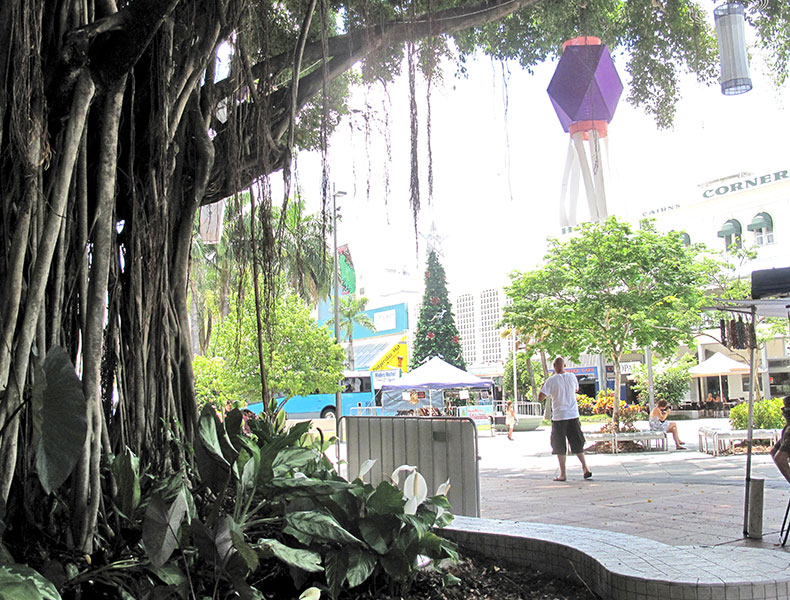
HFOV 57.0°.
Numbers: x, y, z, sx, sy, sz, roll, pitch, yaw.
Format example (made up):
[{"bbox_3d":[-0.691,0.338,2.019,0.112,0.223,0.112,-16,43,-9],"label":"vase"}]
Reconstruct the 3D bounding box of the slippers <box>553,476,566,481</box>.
[{"bbox_3d":[2.388,2.580,10.453,0.175,0.076,0.096,2,-1,29],"label":"slippers"}]

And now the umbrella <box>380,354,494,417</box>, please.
[{"bbox_3d":[0.829,2.613,22.705,2.718,1.371,2.710,3,-12,-37],"label":"umbrella"}]

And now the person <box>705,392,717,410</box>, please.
[{"bbox_3d":[15.606,4.980,35.703,0.391,0.890,0.436,-4,1,-9],"label":"person"}]

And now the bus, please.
[{"bbox_3d":[-2.628,3.954,30.435,3.734,1.801,2.227,-4,-6,-7],"label":"bus"}]
